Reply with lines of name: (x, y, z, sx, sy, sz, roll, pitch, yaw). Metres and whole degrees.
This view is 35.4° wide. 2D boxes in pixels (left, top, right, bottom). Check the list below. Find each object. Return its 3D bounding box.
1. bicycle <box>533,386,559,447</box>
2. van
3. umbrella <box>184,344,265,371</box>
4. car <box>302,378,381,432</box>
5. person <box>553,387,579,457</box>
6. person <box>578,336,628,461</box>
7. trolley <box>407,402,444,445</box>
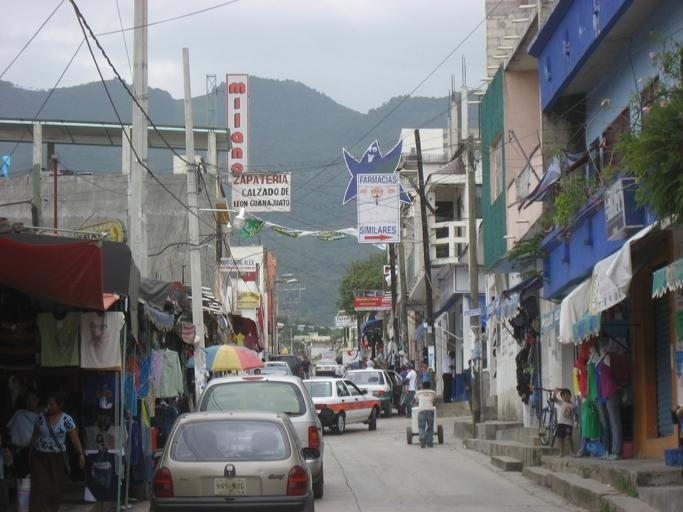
bicycle: (5.038, 3.883, 25.955, 0.646, 0.868, 1.206, 2, -2, -2)
van: (-1.338, 3.308, 20.330, 1.398, 1.629, 2.923, 0, 0, -1)
umbrella: (-3.359, 2.771, 29.780, 1.357, 0.605, 1.403, -2, -5, 42)
car: (-0.038, 4.557, 33.426, 1.156, 1.118, 2.617, -3, -4, 24)
person: (5.052, 3.699, 24.153, 0.474, 1.639, 1.660, -3, -13, 12)
person: (5.526, 2.935, 22.432, 0.756, 2.994, 1.382, 7, -21, -5)
trolley: (2.349, 4.682, 30.339, 0.878, 1.227, 1.467, 1, -10, 0)
